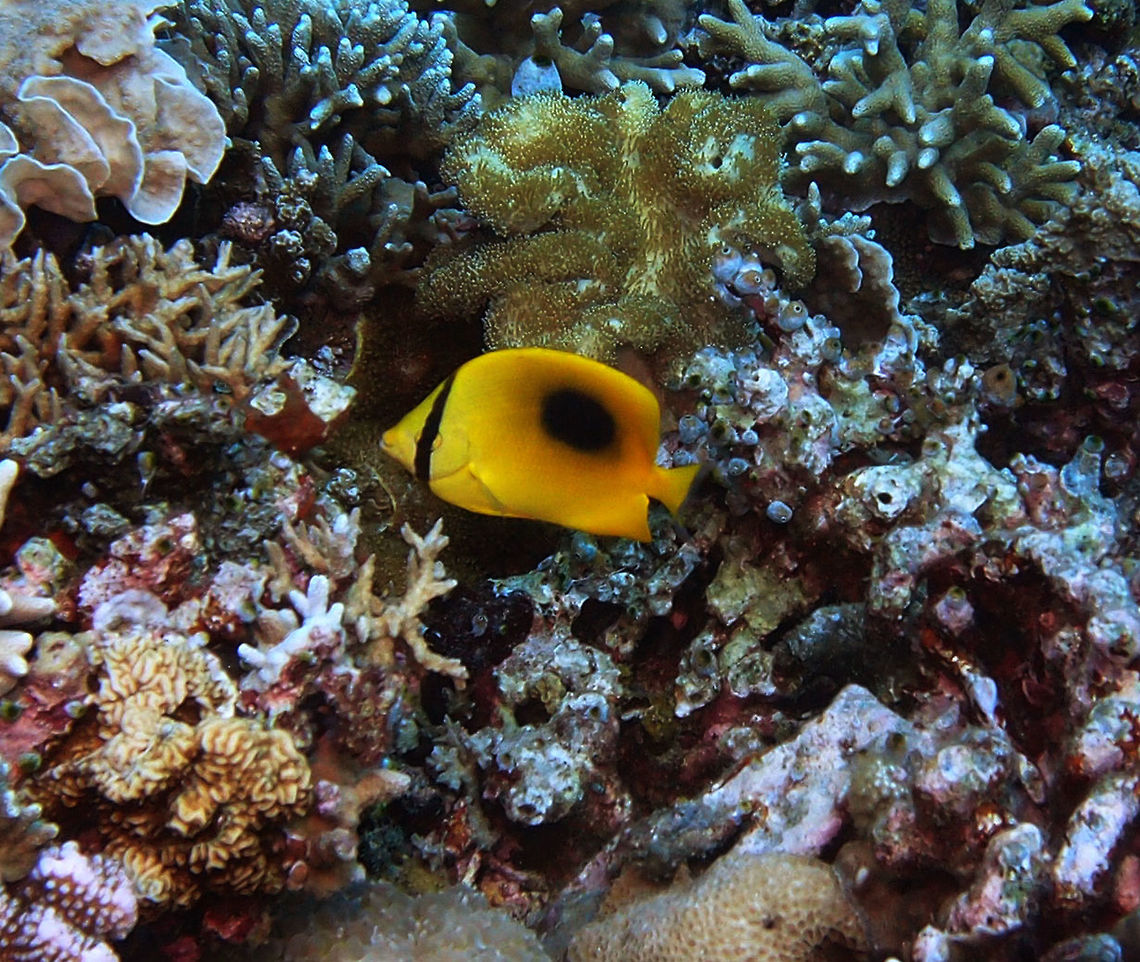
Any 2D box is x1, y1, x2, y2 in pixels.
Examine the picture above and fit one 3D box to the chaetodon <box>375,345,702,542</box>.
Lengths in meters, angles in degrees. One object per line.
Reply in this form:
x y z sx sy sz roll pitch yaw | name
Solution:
-0.098 -0.115 3.813 0.893 0.291 0.617 12 -62 3 | chaetodon
